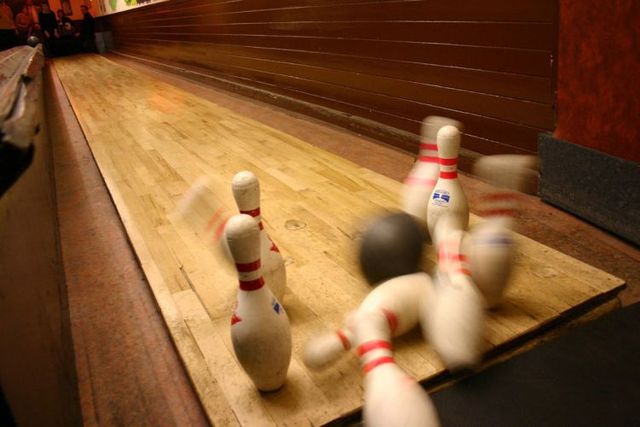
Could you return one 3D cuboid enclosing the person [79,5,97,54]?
[{"bbox_3d":[-7.048,-5.560,12.534,0.493,1.222,1.042,-17,37,-22],"label":"person"}]
